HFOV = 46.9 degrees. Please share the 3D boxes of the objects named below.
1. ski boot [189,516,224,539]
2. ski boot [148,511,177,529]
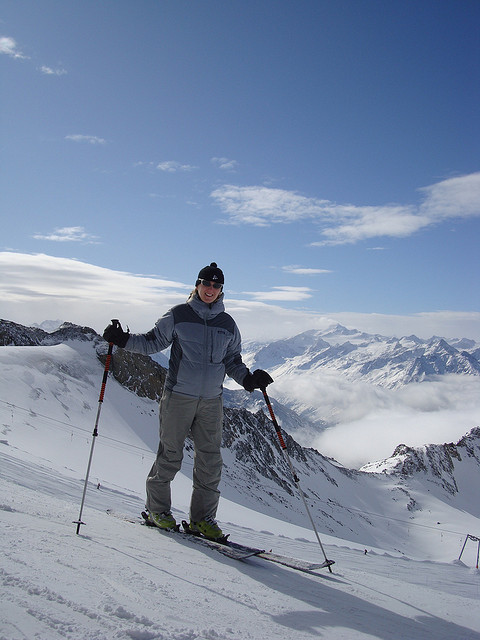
[{"bbox_3d":[-0.430,2.750,7.381,0.552,0.252,0.192,-1,-8,33],"label":"ski boot"},{"bbox_3d":[-1.061,2.663,7.403,0.422,0.172,0.154,-7,-17,34],"label":"ski boot"}]
